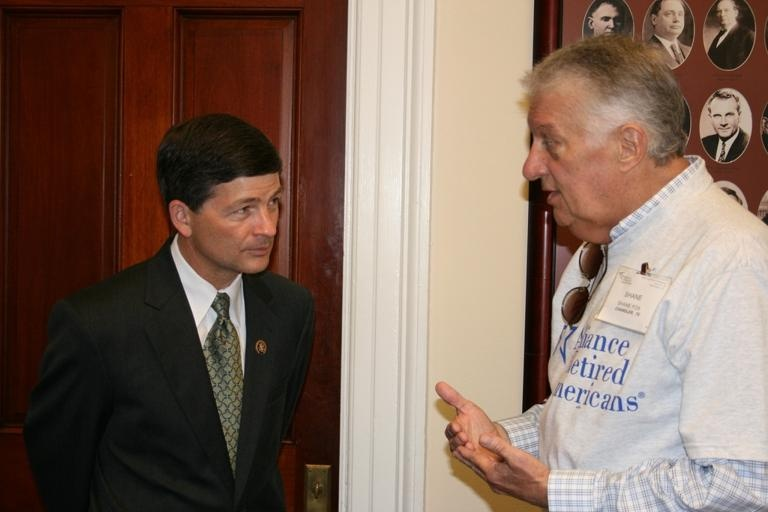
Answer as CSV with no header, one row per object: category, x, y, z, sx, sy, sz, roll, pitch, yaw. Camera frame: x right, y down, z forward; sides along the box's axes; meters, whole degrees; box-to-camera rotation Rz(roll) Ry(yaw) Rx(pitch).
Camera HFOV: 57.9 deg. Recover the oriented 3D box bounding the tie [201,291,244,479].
tie,-0.463,0.338,2.030,0.104,0.517,0.044,-4,-28,-18
